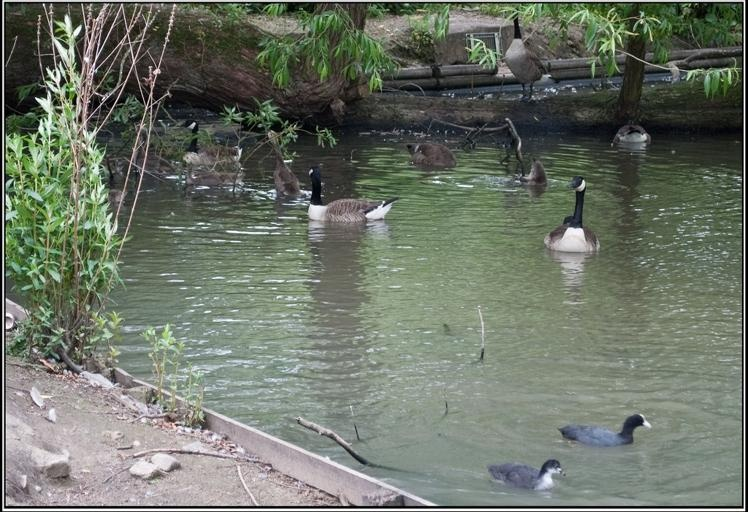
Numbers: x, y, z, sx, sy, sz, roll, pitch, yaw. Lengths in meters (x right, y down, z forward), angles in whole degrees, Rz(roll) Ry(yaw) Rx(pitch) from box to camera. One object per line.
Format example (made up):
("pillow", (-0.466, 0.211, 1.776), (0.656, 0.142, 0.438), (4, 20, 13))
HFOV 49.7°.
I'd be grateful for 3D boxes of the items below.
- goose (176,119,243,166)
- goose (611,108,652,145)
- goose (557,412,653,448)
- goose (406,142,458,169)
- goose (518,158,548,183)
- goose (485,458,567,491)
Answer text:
("goose", (-4.276, -2.757, 21.049), (1.117, 0.848, 1.715), (4, 10, 21))
("goose", (8.130, -4.078, 25.757), (0.903, 0.733, 2.161), (1, 14, 7))
("goose", (2.550, 1.948, 9.172), (1.105, 0.358, 0.368), (3, 9, 6))
("goose", (1.722, -2.673, 21.949), (1.485, 0.558, 0.562), (12, -32, -35))
("goose", (3.962, -1.960, 19.731), (0.402, 0.880, 0.340), (14, -12, 5))
("goose", (1.603, 2.274, 8.418), (0.746, 0.347, 0.304), (10, 22, 8))
